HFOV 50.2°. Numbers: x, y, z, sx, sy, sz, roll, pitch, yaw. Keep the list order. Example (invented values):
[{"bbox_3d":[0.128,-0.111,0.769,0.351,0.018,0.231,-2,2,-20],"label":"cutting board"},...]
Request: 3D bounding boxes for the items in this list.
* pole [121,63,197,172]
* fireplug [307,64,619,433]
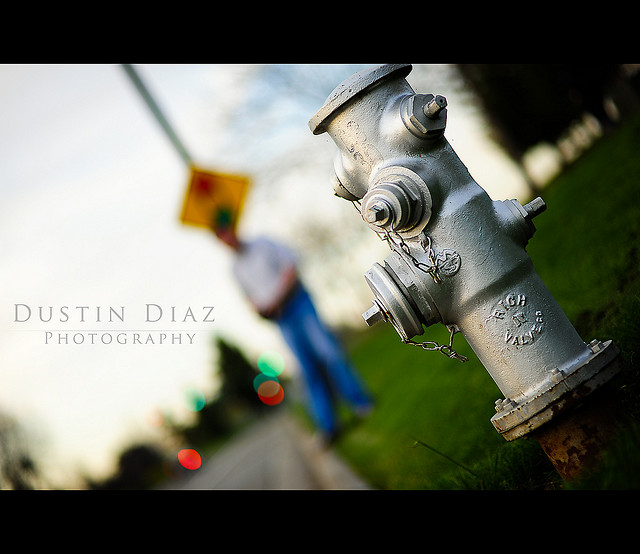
[{"bbox_3d":[-0.769,-0.769,3.203,0.070,0.502,0.078,-29,16,2],"label":"pole"},{"bbox_3d":[0.460,-0.142,2.468,0.723,1.469,0.374,-33,-8,8],"label":"fireplug"}]
